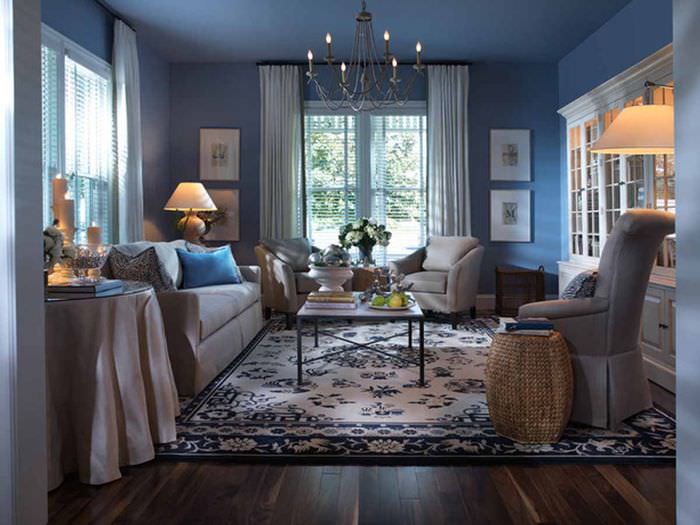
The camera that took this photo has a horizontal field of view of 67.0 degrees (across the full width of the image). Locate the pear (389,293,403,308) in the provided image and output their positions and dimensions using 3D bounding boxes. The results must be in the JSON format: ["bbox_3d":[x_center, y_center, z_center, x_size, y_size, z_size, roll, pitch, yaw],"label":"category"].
[{"bbox_3d":[0.320,0.274,3.716,0.086,0.112,0.087,1,-2,-3],"label":"pear"}]

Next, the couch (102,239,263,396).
[{"bbox_3d":[-1.250,0.311,4.477,0.686,0.910,2.102,3,5,4],"label":"couch"}]

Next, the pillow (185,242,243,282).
[{"bbox_3d":[-1.294,0.066,4.868,0.173,0.374,0.572,-10,-2,41],"label":"pillow"}]

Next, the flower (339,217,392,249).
[{"bbox_3d":[0.089,-0.285,5.109,0.577,0.265,0.348,7,13,36],"label":"flower"}]

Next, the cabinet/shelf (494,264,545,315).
[{"bbox_3d":[2.060,0.365,6.458,0.527,0.724,0.398,1,3,0],"label":"cabinet/shelf"}]

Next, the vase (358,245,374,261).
[{"bbox_3d":[0.153,-0.077,5.016,0.138,0.187,0.137,1,-4,-2],"label":"vase"}]

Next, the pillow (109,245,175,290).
[{"bbox_3d":[-1.503,0.047,3.683,0.381,0.132,0.428,-2,-34,3],"label":"pillow"}]

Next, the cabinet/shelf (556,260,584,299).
[{"bbox_3d":[2.002,0.132,4.791,0.149,0.393,0.407,-3,7,-4],"label":"cabinet/shelf"}]

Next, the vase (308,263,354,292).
[{"bbox_3d":[-0.169,0.148,4.356,0.338,0.267,0.455,1,10,9],"label":"vase"}]

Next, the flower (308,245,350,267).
[{"bbox_3d":[-0.190,-0.037,4.403,0.226,0.111,0.233,0,-2,44],"label":"flower"}]

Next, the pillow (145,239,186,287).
[{"bbox_3d":[-1.528,-0.034,4.477,0.125,0.449,0.450,-7,4,2],"label":"pillow"}]

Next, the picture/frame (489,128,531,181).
[{"bbox_3d":[1.978,-1.366,6.534,0.581,0.789,0.057,0,0,-3],"label":"picture/frame"}]

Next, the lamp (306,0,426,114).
[{"bbox_3d":[0.225,-2.338,5.938,1.393,1.417,1.210,-1,1,-4],"label":"lamp"}]

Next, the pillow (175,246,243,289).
[{"bbox_3d":[-1.299,0.049,4.878,0.165,0.399,0.606,-8,-2,37],"label":"pillow"}]

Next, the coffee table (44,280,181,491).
[{"bbox_3d":[-1.409,0.612,2.820,0.857,0.883,0.734,2,-5,-27],"label":"coffee table"}]

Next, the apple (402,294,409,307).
[{"bbox_3d":[0.395,0.279,3.792,0.065,0.086,0.068,-6,-3,31],"label":"apple"}]

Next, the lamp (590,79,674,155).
[{"bbox_3d":[1.877,-0.962,3.383,0.418,0.509,1.138,7,12,34],"label":"lamp"}]

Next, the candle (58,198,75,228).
[{"bbox_3d":[-1.580,-0.274,2.931,0.074,0.155,0.050,-5,11,-25],"label":"candle"}]

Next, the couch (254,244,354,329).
[{"bbox_3d":[-0.459,0.233,5.933,0.847,1.153,0.915,1,-4,-35],"label":"couch"}]

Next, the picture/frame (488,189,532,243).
[{"bbox_3d":[1.988,-0.584,6.556,0.491,0.721,0.031,3,27,23],"label":"picture/frame"}]

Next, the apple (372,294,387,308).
[{"bbox_3d":[0.209,0.277,3.744,0.080,0.080,0.079,0,-2,-25],"label":"apple"}]

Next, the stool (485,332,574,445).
[{"bbox_3d":[1.014,0.676,3.011,0.455,0.607,0.430,-4,7,-6],"label":"stool"}]

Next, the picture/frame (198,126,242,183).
[{"bbox_3d":[-1.632,-1.384,6.587,0.656,0.898,0.030,1,6,-1],"label":"picture/frame"}]

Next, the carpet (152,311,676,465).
[{"bbox_3d":[0.332,0.846,3.866,2.971,0.038,2.760,-3,7,28],"label":"carpet"}]

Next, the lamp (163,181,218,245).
[{"bbox_3d":[-1.769,-0.586,6.110,0.712,0.854,0.726,-1,3,-19],"label":"lamp"}]
